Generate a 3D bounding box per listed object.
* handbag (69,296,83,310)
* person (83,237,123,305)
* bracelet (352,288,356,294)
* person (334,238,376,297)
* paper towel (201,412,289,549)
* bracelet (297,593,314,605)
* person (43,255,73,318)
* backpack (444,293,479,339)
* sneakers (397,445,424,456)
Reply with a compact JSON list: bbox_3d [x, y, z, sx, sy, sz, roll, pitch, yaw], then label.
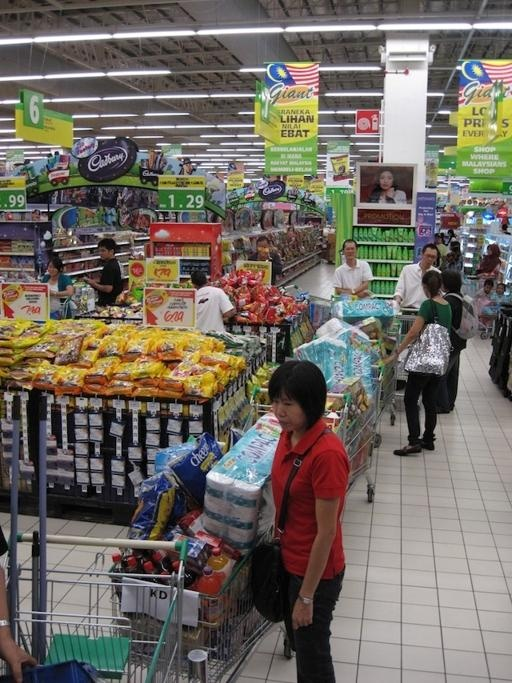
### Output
[{"bbox_3d":[-2.875,-0.605,8.542,0.246,0.237,0.280,2,15,-1],"label":"handbag"},{"bbox_3d":[-2.244,-1.031,7.975,0.484,1.008,0.812,1,9,-17],"label":"person"},{"bbox_3d":[1.298,-0.668,7.069,0.041,0.050,0.013,0,-31,-19],"label":"bracelet"},{"bbox_3d":[1.302,-0.964,7.195,0.550,0.787,0.594,7,22,34],"label":"person"},{"bbox_3d":[-0.038,0.514,1.927,0.163,0.191,0.553,17,19,5],"label":"paper towel"},{"bbox_3d":[0.136,0.713,1.472,0.038,0.025,0.040,2,-1,13],"label":"bracelet"},{"bbox_3d":[-2.903,-0.801,7.810,0.379,0.849,1.109,0,9,-22],"label":"person"},{"bbox_3d":[2.391,-0.292,6.107,0.297,0.513,0.382,0,11,41],"label":"backpack"},{"bbox_3d":[1.506,1.062,5.261,0.274,0.104,0.098,0,2,-6],"label":"sneakers"}]
